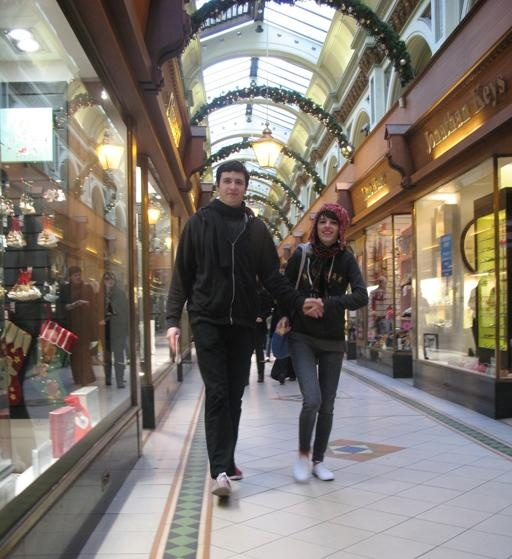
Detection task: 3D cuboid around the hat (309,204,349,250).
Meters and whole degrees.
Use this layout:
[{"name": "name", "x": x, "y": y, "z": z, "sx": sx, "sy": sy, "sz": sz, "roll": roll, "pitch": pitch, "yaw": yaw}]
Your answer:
[{"name": "hat", "x": 0.501, "y": -0.373, "z": 2.796, "sx": 0.271, "sy": 0.351, "sz": 0.261, "roll": 1, "pitch": -16, "yaw": 10}]

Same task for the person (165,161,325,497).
[{"name": "person", "x": -0.129, "y": 0.215, "z": 2.397, "sx": 0.739, "sy": 1.771, "sz": 0.346, "roll": 2, "pitch": -8, "yaw": -14}]

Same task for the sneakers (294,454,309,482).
[{"name": "sneakers", "x": 0.278, "y": 1.159, "z": 2.634, "sx": 0.065, "sy": 0.083, "sz": 0.187, "roll": 0, "pitch": -5, "yaw": 3}]

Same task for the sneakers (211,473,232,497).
[{"name": "sneakers", "x": -0.181, "y": 1.054, "z": 2.188, "sx": 0.096, "sy": 0.114, "sz": 0.163, "roll": 3, "pitch": -26, "yaw": -4}]

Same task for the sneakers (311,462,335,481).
[{"name": "sneakers", "x": 0.400, "y": 1.171, "z": 2.612, "sx": 0.060, "sy": 0.067, "sz": 0.166, "roll": 2, "pitch": -9, "yaw": -10}]
